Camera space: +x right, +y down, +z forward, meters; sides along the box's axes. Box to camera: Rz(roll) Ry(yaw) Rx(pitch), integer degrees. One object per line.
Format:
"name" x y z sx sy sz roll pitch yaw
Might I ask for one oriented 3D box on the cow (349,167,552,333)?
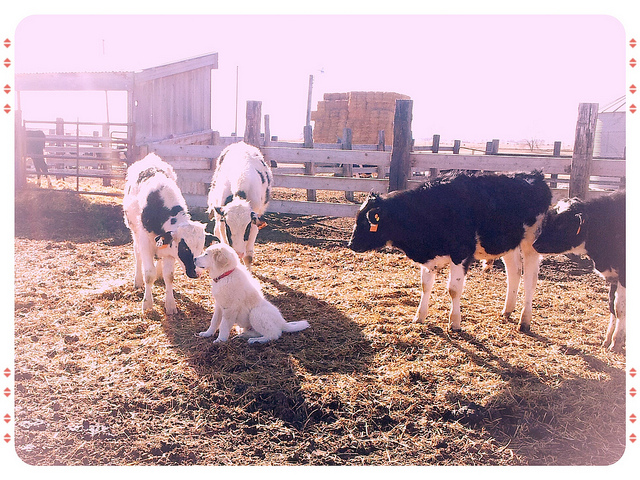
"cow" 1.893 0.180 8.379 2.916 2.405 1.116 -3 8 -8

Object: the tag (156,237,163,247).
"tag" -2.178 0.019 7.949 0.062 0.109 0.027 9 -9 -7

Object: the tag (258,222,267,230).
"tag" -0.938 -0.255 9.669 0.138 0.096 0.228 -8 4 -10

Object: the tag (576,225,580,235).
"tag" 3.448 -0.158 7.835 0.030 0.121 0.008 15 18 8

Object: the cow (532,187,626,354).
"cow" 3.616 0.351 7.966 1.083 2.083 0.656 5 8 28

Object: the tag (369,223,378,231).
"tag" 0.754 -0.194 8.213 0.108 0.108 0.026 4 1 27
